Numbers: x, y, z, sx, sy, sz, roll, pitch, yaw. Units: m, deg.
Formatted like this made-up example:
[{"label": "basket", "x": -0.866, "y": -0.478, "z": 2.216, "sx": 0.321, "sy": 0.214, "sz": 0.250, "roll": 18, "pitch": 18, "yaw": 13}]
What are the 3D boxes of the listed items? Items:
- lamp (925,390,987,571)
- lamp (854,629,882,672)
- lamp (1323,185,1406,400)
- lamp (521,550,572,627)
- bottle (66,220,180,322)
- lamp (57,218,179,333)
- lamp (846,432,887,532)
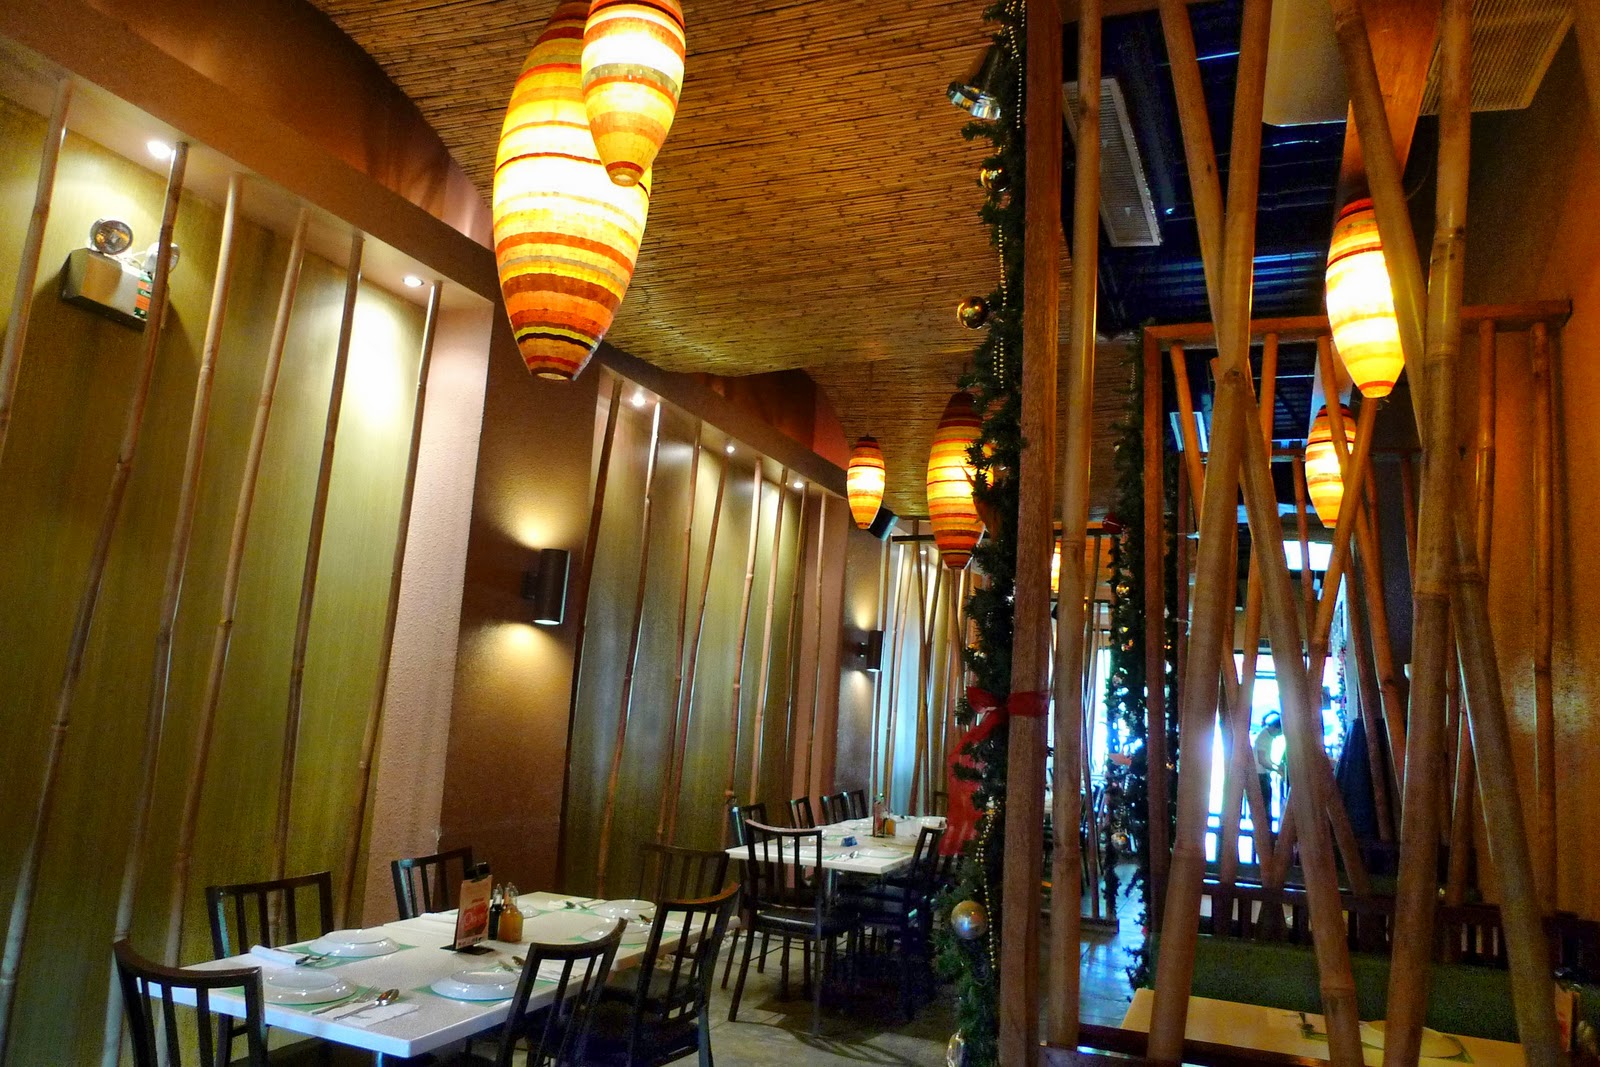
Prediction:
[{"label": "lamp", "x": 0.863, "y": -0.338, "z": 6.274, "sx": 0.269, "sy": 1.092, "sz": 0.562, "roll": 1, "pitch": -13, "yaw": 6}, {"label": "lamp", "x": 0.689, "y": 1.187, "z": 11.480, "sx": 0.111, "sy": 0.413, "sz": 0.584, "roll": -4, "pitch": -15, "yaw": 25}, {"label": "lamp", "x": 2.078, "y": -0.861, "z": 4.195, "sx": 0.225, "sy": 0.731, "sz": 0.321, "roll": -5, "pitch": -15, "yaw": 28}, {"label": "lamp", "x": -1.558, "y": 0.344, "z": 7.057, "sx": 0.255, "sy": 0.459, "sz": 0.148, "roll": 4, "pitch": -14, "yaw": 0}, {"label": "bottle", "x": -3.156, "y": -1.218, "z": 5.267, "sx": 0.236, "sy": 0.437, "sz": 0.460, "roll": -7, "pitch": -17, "yaw": 15}, {"label": "lamp", "x": -3.050, "y": -1.231, "z": 5.393, "sx": 0.474, "sy": 0.431, "sz": 0.262, "roll": 21, "pitch": 23, "yaw": 12}, {"label": "lamp", "x": 0.490, "y": -0.410, "z": 8.189, "sx": 0.245, "sy": 0.696, "sz": 0.328, "roll": 3, "pitch": -13, "yaw": -1}]
